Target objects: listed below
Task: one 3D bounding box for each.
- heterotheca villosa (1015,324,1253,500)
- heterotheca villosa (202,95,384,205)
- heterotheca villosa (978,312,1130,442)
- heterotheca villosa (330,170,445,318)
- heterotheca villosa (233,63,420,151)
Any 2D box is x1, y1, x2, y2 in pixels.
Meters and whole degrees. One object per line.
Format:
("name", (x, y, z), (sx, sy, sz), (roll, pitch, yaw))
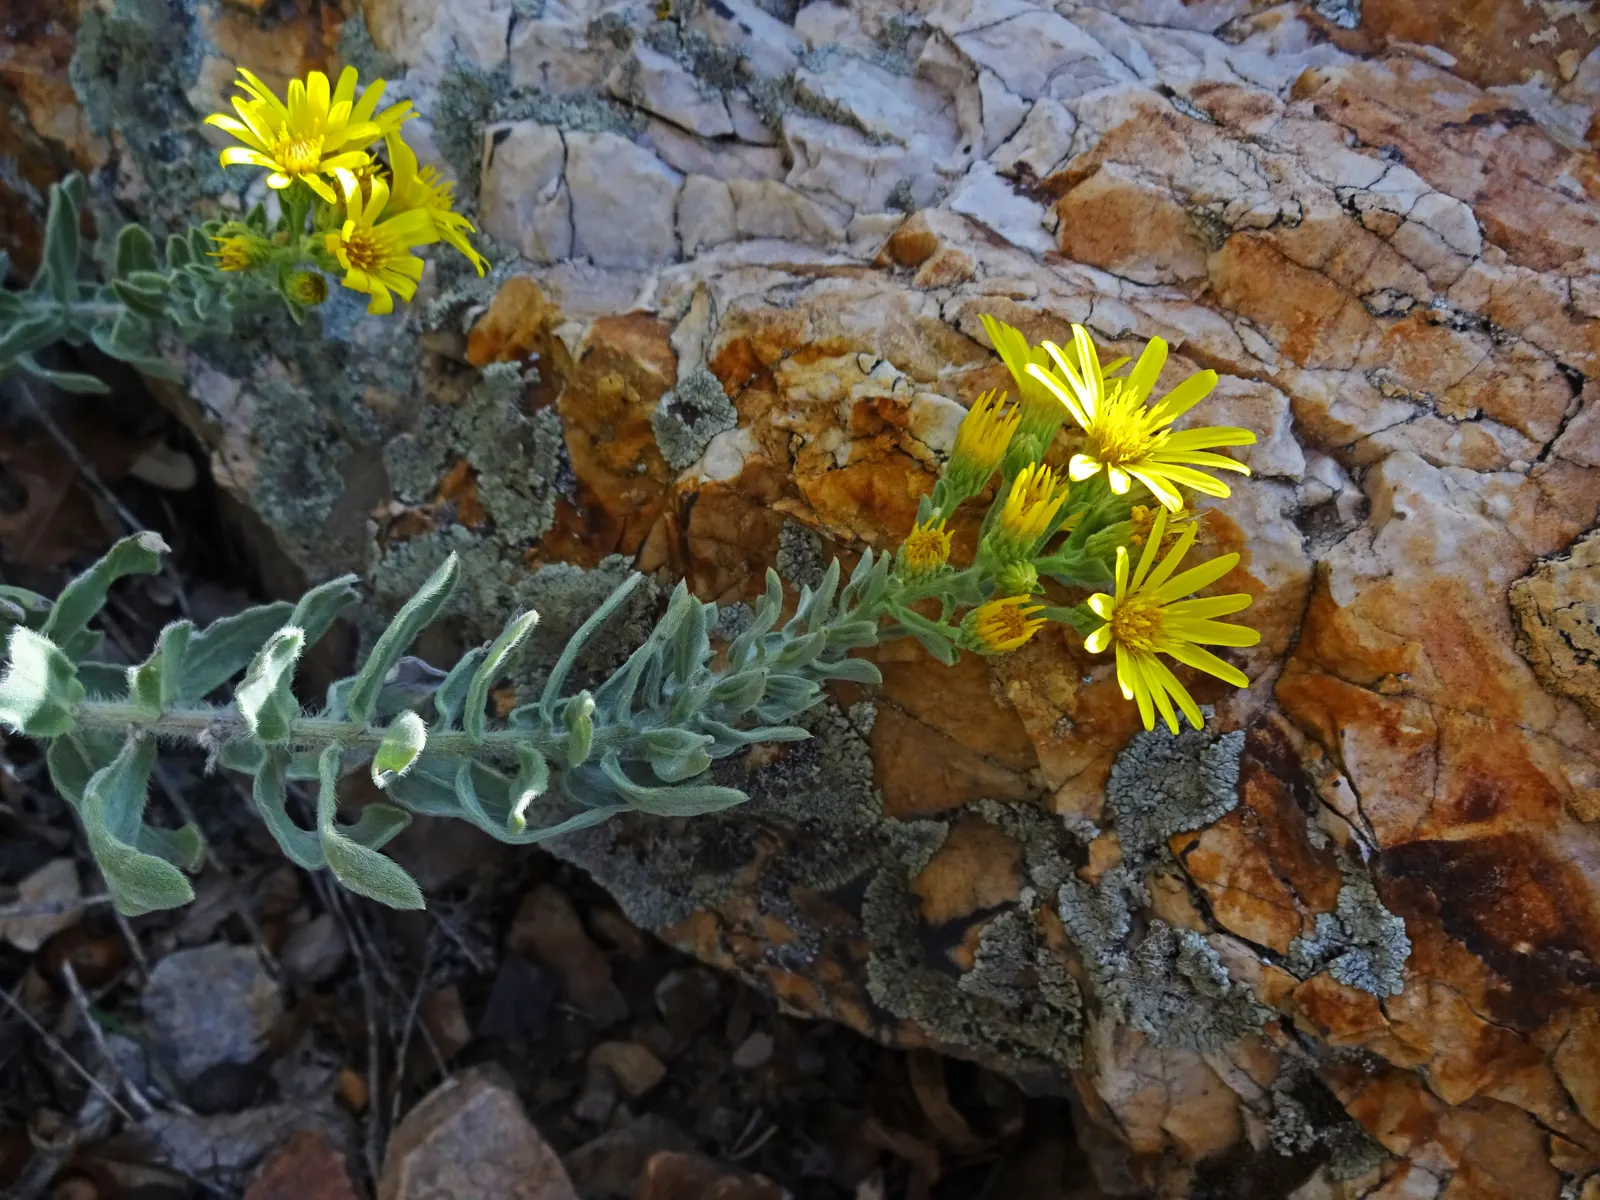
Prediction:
("heterotheca villosa", (0.760, -0.383, 3.988), (0.540, 0.641, 0.205), (20, 73, 22))
("heterotheca villosa", (-1.251, -1.138, 4.153), (0.411, 0.477, 0.202), (-4, 79, -30))
("heterotheca villosa", (0.610, -0.561, 4.020), (0.133, 0.288, 0.328), (-31, 96, -32))
("heterotheca villosa", (-1.038, -0.948, 4.156), (0.245, 0.282, 0.294), (30, 57, -1))
("heterotheca villosa", (-1.183, -1.220, 4.092), (0.286, 0.124, 0.327), (-12, 39, -23))
